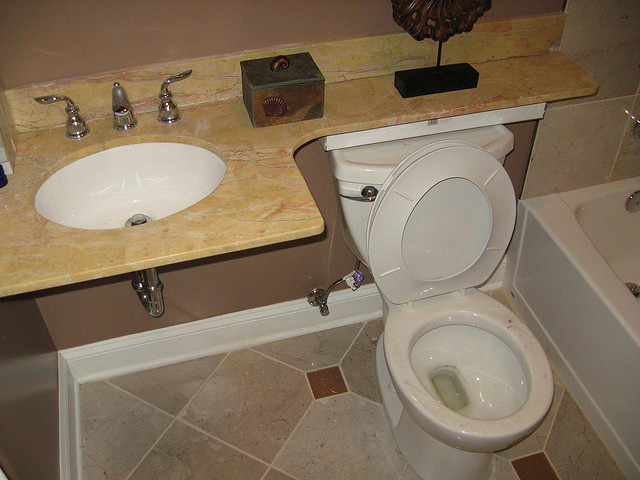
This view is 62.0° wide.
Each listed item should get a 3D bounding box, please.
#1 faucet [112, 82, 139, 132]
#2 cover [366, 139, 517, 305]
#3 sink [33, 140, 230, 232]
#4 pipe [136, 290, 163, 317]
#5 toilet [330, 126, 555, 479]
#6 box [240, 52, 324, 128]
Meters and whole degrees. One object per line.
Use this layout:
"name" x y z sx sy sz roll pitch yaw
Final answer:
"faucet" -0.603 -0.407 1.614 0.081 0.135 0.061 -21 45 -20
"cover" 0.387 -0.047 1.681 0.509 0.528 0.049 -17 34 -14
"sink" -0.542 -0.169 1.608 0.544 0.182 0.227 -9 41 -7
"pipe" -0.556 0.212 1.774 0.073 0.125 0.024 -5 42 -2
"toilet" 0.419 0.217 1.789 0.626 1.009 0.931 -13 50 -3
"box" -0.120 -0.490 1.672 0.240 0.165 0.208 -9 41 -8
